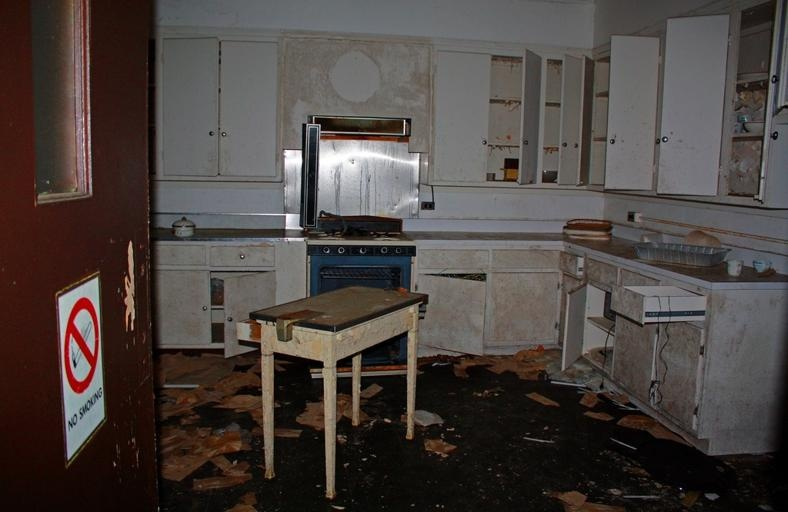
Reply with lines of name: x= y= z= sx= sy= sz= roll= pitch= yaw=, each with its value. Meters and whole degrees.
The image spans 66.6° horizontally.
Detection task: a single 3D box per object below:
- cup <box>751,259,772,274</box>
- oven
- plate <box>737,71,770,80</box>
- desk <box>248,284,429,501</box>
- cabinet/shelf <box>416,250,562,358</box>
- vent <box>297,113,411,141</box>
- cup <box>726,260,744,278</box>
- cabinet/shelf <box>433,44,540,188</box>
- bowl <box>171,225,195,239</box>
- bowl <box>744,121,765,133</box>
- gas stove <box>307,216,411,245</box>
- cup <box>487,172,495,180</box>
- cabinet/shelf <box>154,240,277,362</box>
cup: x=2.505 y=0.071 z=4.059 sx=0.098 sy=0.067 sz=0.094 roll=0 pitch=12 yaw=0
oven: x=-0.311 y=0.257 z=5.471 sx=0.943 sy=1.104 sz=0.787 roll=3 pitch=19 yaw=4
plate: x=2.516 y=-1.248 z=4.178 sx=0.101 sy=0.059 sz=0.238 roll=-1 pitch=14 yaw=-7
desk: x=-0.345 y=0.756 z=3.710 sx=0.607 sy=1.017 sz=0.994 roll=12 pitch=18 yaw=35
cabinet/shelf: x=0.801 y=0.390 z=5.575 sx=1.509 sy=0.965 sz=0.749 roll=-1 pitch=5 yaw=-21
vent: x=-0.304 y=-1.163 z=5.438 sx=0.956 sy=0.210 sz=0.145 roll=-1 pitch=15 yaw=-8
cup: x=2.286 y=0.090 z=3.979 sx=0.136 sy=0.125 sz=0.100 roll=-1 pitch=5 yaw=-18
cabinet/shelf: x=0.850 y=-1.354 z=5.619 sx=1.384 sy=1.448 sz=0.495 roll=-3 pitch=11 yaw=-17
bowl: x=-1.810 y=-0.210 z=5.185 sx=0.133 sy=0.077 sz=0.134 roll=1 pitch=4 yaw=0
bowl: x=2.478 y=-0.884 z=4.127 sx=0.058 sy=0.071 sz=0.135 roll=-2 pitch=15 yaw=-12
gas stove: x=-0.337 y=-0.247 z=5.345 sx=0.884 sy=0.180 sz=0.563 roll=-1 pitch=14 yaw=-10
cup: x=0.969 y=-0.789 z=5.967 sx=0.087 sy=0.078 sz=0.057 roll=2 pitch=22 yaw=4
cabinet/shelf: x=-1.464 y=0.357 z=5.296 sx=1.247 sy=1.008 sz=0.925 roll=0 pitch=9 yaw=18
